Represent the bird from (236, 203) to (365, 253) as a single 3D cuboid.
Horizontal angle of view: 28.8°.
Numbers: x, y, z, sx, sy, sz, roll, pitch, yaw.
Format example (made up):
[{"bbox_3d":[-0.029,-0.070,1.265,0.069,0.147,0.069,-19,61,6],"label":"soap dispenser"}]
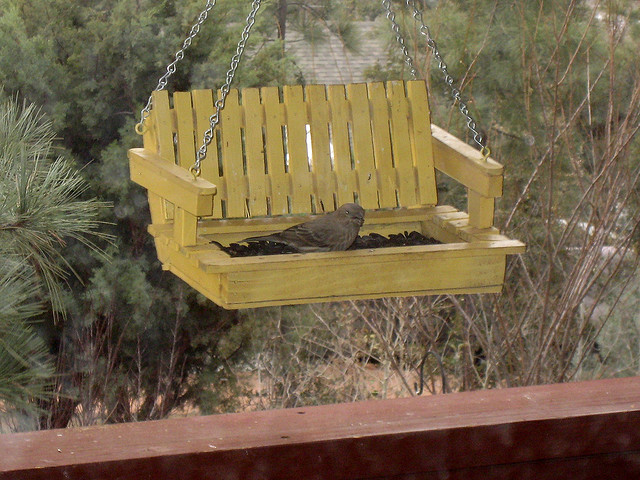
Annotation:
[{"bbox_3d":[-0.110,-0.065,9.058,0.797,0.542,0.300,-3,2,3],"label":"bird"}]
